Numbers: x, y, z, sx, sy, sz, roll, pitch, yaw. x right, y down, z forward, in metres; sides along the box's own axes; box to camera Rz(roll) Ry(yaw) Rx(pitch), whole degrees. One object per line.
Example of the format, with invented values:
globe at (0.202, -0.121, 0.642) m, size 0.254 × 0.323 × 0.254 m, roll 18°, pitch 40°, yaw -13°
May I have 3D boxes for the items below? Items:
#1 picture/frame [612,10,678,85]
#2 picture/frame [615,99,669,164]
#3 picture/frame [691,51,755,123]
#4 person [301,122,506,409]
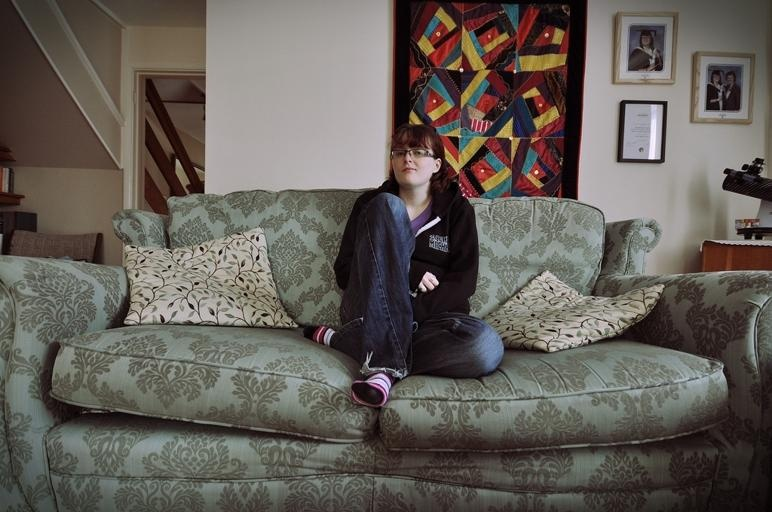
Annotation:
picture/frame at (1.898, -1.543, 4.212) m, size 0.490 × 0.624 × 0.045 m, roll 1°, pitch 6°, yaw -5°
picture/frame at (1.884, -0.921, 4.235) m, size 0.412 × 0.597 × 0.041 m, roll 3°, pitch 1°, yaw 0°
picture/frame at (2.454, -1.256, 4.222) m, size 0.474 × 0.609 × 0.045 m, roll 0°, pitch 3°, yaw 0°
person at (0.086, -0.046, 2.809) m, size 0.818 × 1.272 × 1.068 m, roll 2°, pitch 0°, yaw -8°
